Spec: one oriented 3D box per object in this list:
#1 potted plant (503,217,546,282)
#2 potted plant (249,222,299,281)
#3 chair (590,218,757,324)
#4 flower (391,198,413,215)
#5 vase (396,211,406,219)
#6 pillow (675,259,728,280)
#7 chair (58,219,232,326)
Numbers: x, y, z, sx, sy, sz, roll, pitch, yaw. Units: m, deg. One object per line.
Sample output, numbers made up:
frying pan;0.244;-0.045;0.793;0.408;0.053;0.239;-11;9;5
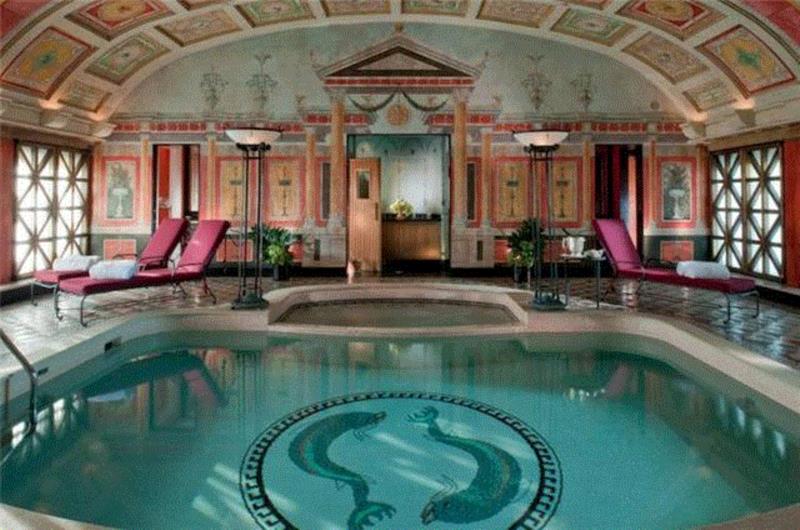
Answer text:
potted plant;2.300;-0.338;10.700;0.681;0.984;0.597;10;-3;-23
potted plant;-2.719;-0.343;11.316;1.297;1.097;1.242;-2;3;-35
chair;4.513;-0.034;9.163;1.408;1.570;3.144;-5;7;-34
flower;-0.003;-1.574;13.982;0.579;0.505;0.484;0;4;-12
vase;-0.020;-1.318;13.707;0.219;0.164;0.253;0;5;3
pillow;4.587;0.069;7.944;0.427;0.166;0.419;-3;3;14
chair;-4.220;0.003;8.567;1.030;1.179;2.512;16;20;38
